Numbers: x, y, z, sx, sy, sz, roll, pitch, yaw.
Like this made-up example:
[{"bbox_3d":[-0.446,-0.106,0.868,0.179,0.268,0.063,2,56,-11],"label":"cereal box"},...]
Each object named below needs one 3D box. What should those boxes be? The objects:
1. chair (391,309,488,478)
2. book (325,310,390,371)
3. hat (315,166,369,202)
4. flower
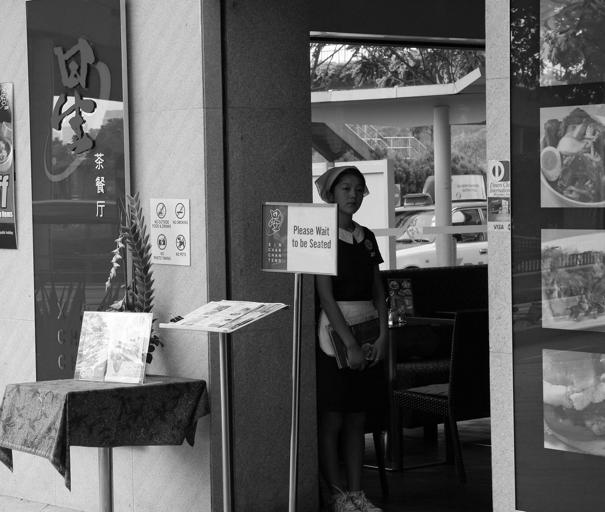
[{"bbox_3d":[0.879,0.894,6.188,0.579,1.067,0.927,-2,0,-2],"label":"chair"},{"bbox_3d":[0.363,0.502,5.472,0.274,0.297,0.064,-5,0,-35],"label":"book"},{"bbox_3d":[0.222,-0.442,5.623,0.236,0.192,0.230,-23,30,14],"label":"hat"},{"bbox_3d":[-1.021,-0.021,5.373,0.352,0.884,0.236,-2,0,9],"label":"flower"}]
